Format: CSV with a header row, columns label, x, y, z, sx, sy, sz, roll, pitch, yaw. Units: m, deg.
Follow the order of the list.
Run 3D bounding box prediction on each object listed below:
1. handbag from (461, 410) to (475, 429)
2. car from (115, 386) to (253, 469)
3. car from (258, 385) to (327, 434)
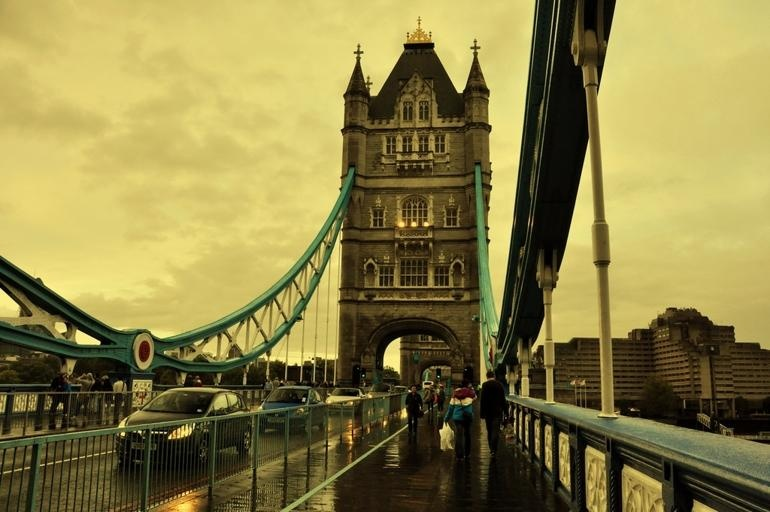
label,x,y,z,sx,sy,sz,roll,pitch,yaw
handbag,1.957,3.863,16.376,0.228,0.360,0.746,-5,-16,9
car,-3.521,2.982,12.524,1.580,1.123,2.588,-4,-23,11
car,-2.301,3.591,16.818,1.355,0.941,2.124,-3,-19,9
